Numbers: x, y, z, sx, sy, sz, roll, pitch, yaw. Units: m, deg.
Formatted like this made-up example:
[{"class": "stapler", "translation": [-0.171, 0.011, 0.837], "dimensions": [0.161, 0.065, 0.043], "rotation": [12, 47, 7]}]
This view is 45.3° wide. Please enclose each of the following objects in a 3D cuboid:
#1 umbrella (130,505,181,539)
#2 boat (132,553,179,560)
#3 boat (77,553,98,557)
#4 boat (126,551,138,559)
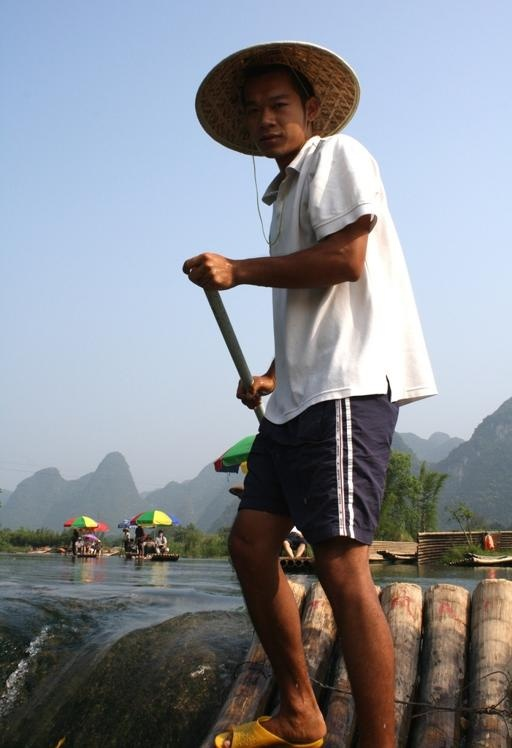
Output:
[{"class": "umbrella", "translation": [-4.184, 6.082, 25.317], "dimensions": [2.398, 0.910, 2.329], "rotation": [6, -14, -11]}, {"class": "boat", "translation": [-3.195, 5.794, 19.358], "dimensions": [0.871, 0.191, 0.884], "rotation": [-5, -15, 34]}, {"class": "boat", "translation": [-6.253, 6.718, 22.664], "dimensions": [0.642, 0.143, 0.629], "rotation": [1, -12, 4]}, {"class": "boat", "translation": [-4.159, 6.129, 20.605], "dimensions": [0.577, 0.132, 0.539], "rotation": [0, -34, -5]}]
